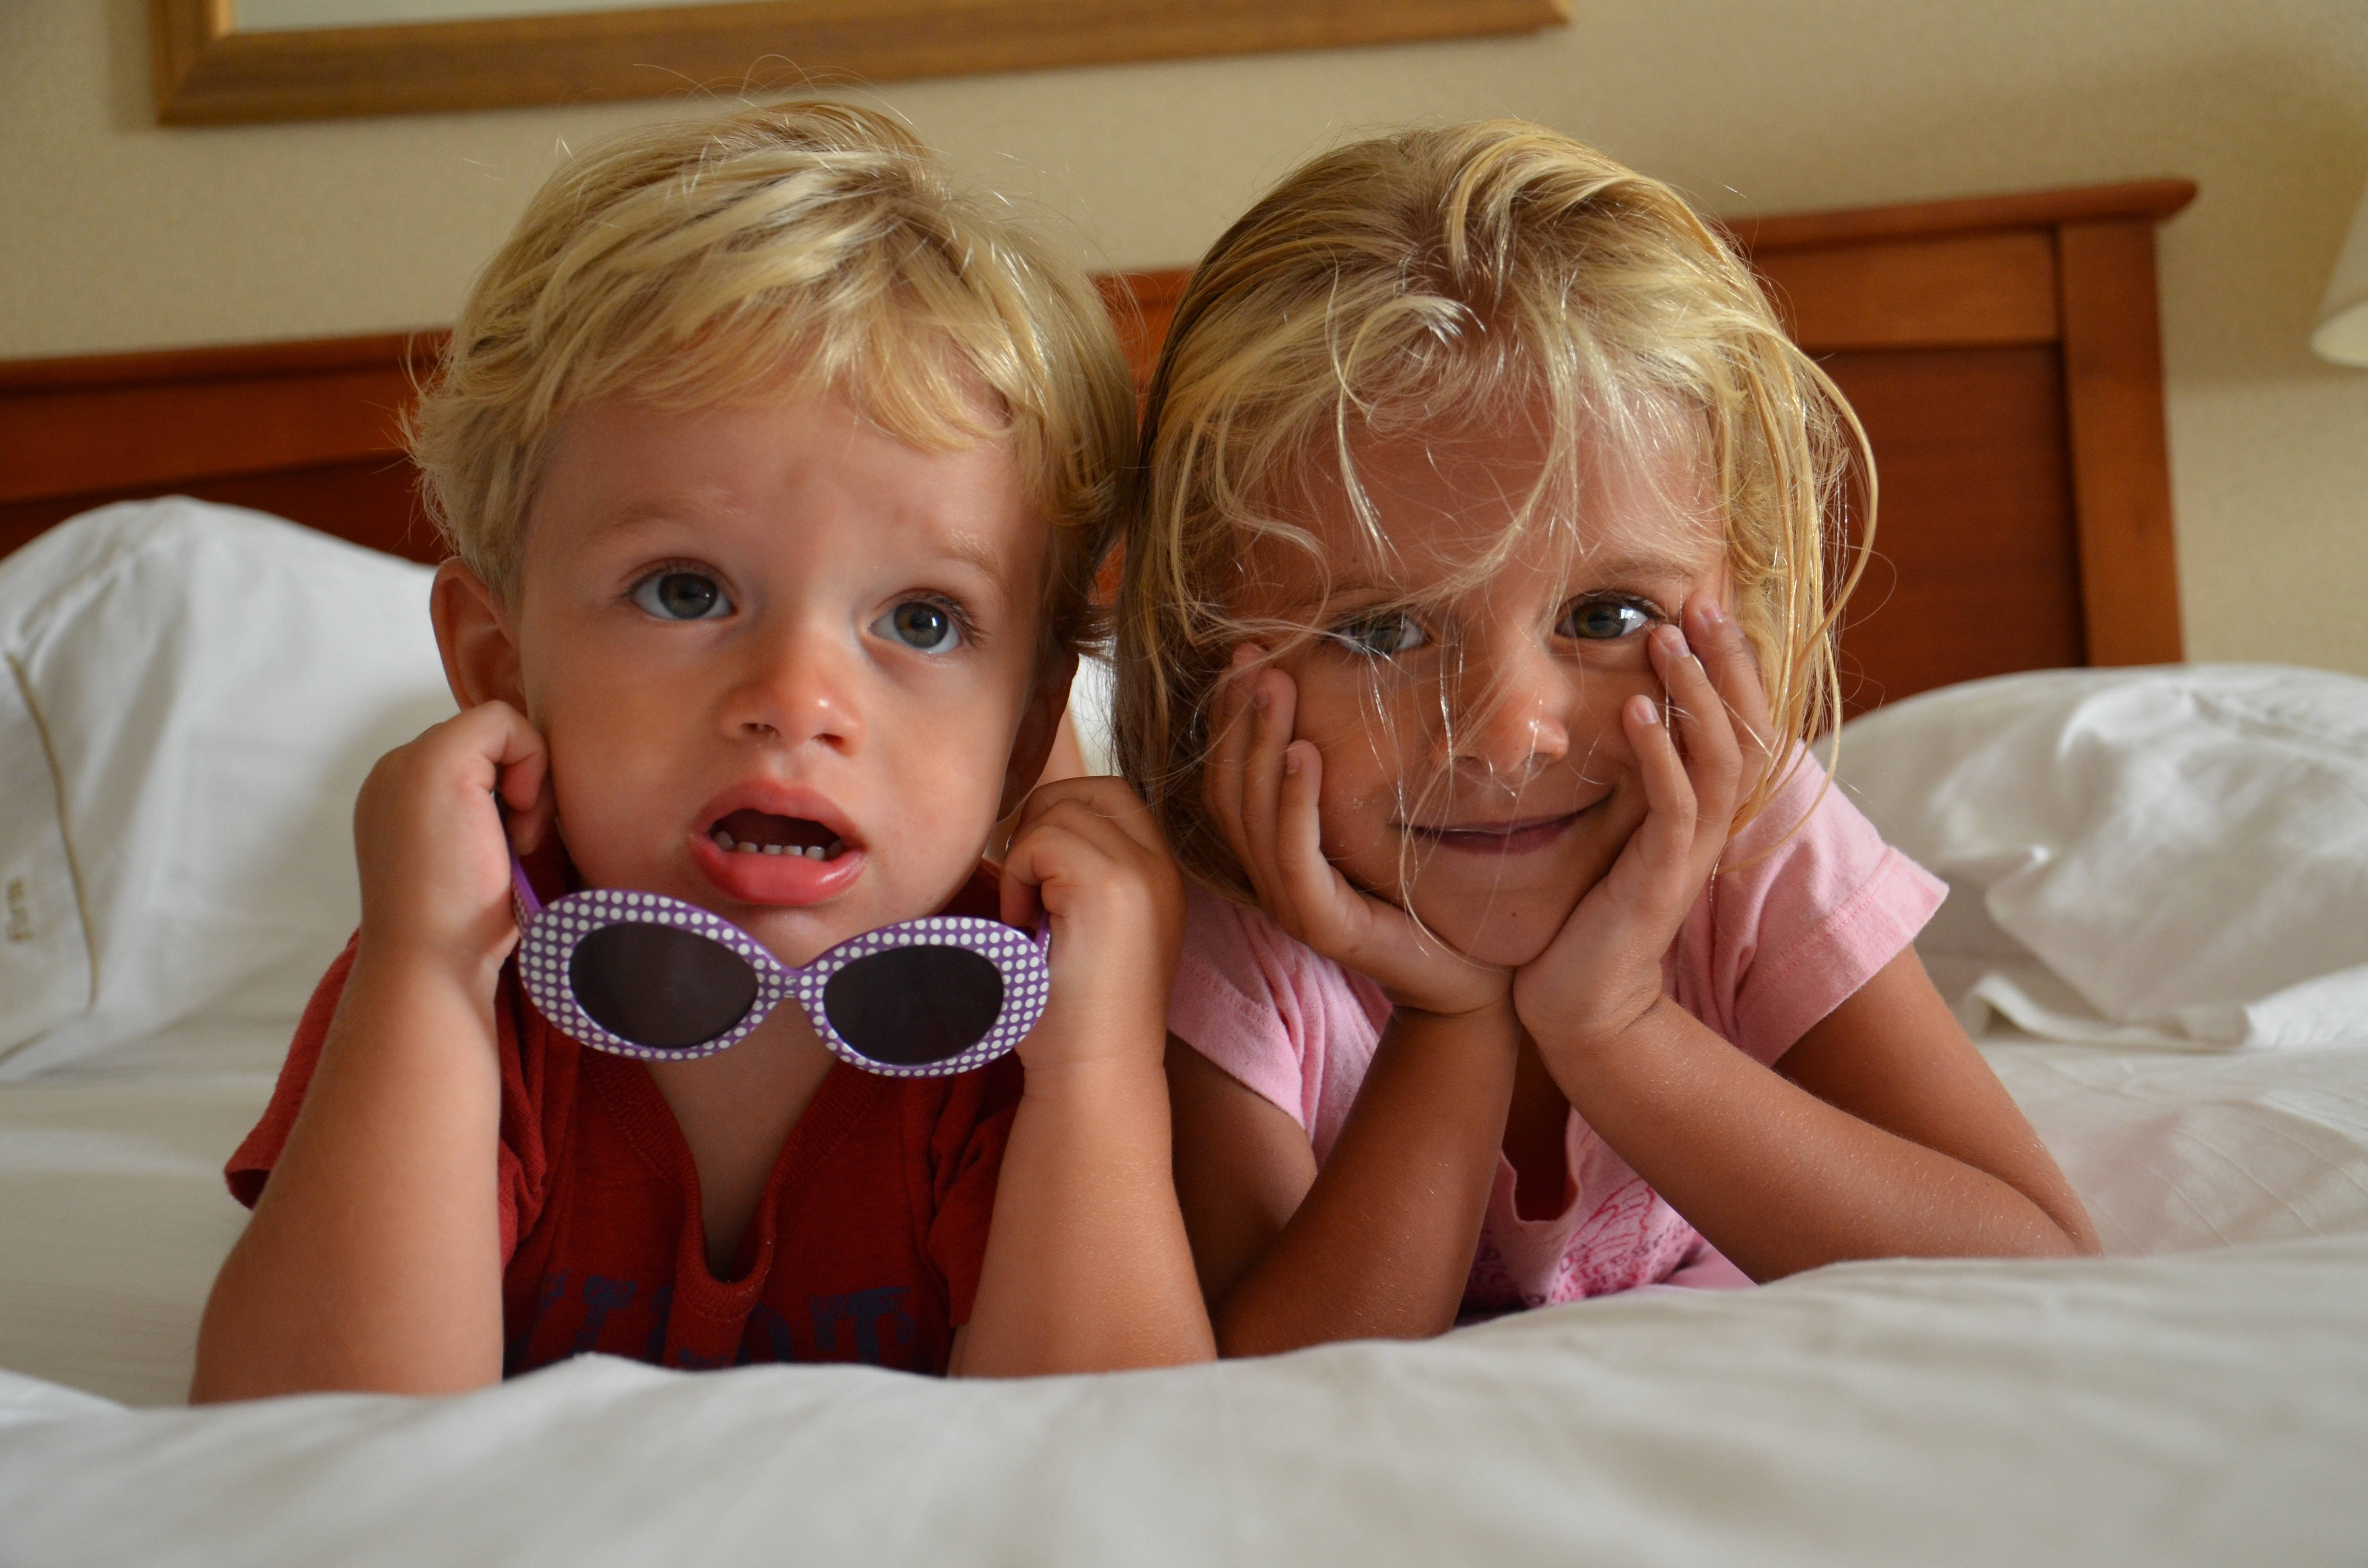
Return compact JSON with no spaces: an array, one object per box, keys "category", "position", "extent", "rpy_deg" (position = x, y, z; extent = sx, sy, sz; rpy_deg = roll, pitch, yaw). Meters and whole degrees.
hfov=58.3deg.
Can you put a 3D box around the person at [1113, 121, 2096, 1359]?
[{"category":"person","position":[0.274,-0.003,1.712],"extent":[0.662,0.927,0.631],"rpy_deg":[-6,9,6]}]
